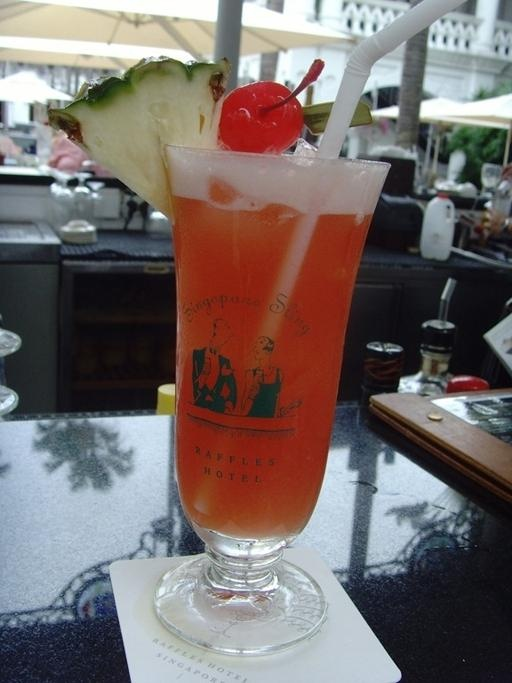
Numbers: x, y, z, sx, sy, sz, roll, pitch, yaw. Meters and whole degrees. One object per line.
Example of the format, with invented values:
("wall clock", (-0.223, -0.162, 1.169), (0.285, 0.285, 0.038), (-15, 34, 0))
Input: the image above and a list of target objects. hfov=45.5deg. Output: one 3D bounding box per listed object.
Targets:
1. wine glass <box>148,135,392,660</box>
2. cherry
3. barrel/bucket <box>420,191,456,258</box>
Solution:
("wine glass", (-0.009, 0.046, 0.463), (0.152, 0.357, 0.136), (-1, 12, -17))
("cherry", (0.013, -0.148, 0.409), (0.077, 0.075, 0.045), (8, 22, 19))
("barrel/bucket", (0.809, -0.506, 2.716), (0.149, 0.287, 0.204), (8, 14, 14))
